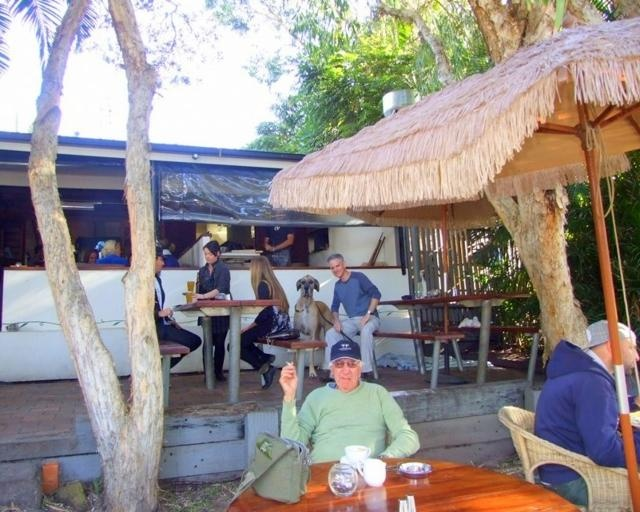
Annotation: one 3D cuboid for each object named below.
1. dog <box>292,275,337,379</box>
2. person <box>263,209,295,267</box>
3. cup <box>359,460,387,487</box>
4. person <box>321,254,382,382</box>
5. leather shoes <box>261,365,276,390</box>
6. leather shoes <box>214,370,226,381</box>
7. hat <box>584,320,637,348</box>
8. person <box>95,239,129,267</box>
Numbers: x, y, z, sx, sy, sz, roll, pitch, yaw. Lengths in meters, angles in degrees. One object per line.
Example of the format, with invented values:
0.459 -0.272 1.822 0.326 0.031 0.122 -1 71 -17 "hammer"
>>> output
-0.150 1.047 7.842 0.480 1.288 1.881 2 -10 10 "dog"
-0.767 -0.344 9.189 0.554 1.591 0.508 -4 -22 5 "person"
0.250 1.015 2.371 0.108 0.099 0.091 -7 -9 22 "cup"
0.371 0.757 6.515 0.820 1.643 0.835 -5 -3 -7 "person"
-0.630 1.448 6.096 0.140 0.385 0.114 0 6 -35 "leather shoes"
-1.391 1.672 6.977 0.062 0.143 0.194 10 -31 -28 "leather shoes"
1.873 0.496 3.249 0.284 0.127 0.231 -4 -3 6 "hat"
-3.551 -0.065 8.542 0.430 0.612 2.220 0 -5 -24 "person"
